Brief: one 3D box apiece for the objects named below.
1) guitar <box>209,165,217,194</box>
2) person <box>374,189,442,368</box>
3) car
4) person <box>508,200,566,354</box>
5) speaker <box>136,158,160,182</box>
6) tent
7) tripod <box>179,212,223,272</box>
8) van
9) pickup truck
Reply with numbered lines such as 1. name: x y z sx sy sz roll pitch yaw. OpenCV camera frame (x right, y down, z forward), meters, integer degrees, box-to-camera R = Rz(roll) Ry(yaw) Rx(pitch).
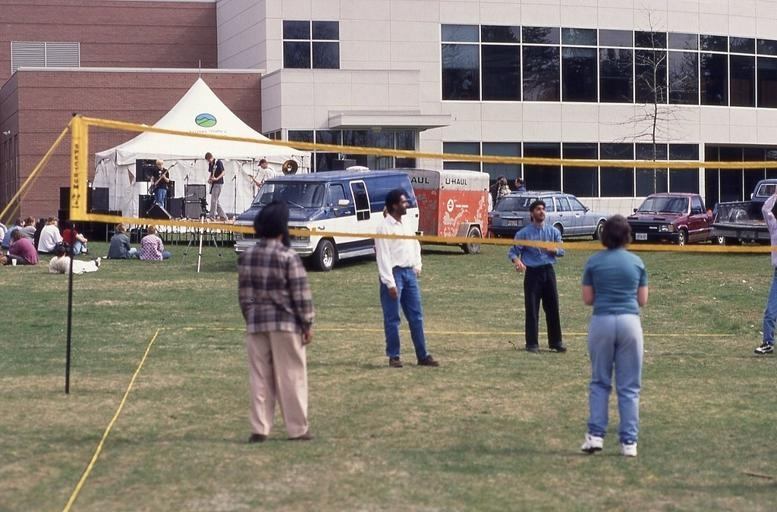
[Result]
1. guitar: -5.845 -2.538 51.688 0.251 0.827 0.498 5 -3 -38
2. person: 0.315 0.591 38.022 1.228 4.381 1.111 -1 4 10
3. car: 5.819 -1.306 55.137 2.143 1.795 5.285 0 2 39
4. person: 3.794 0.532 39.142 1.466 3.830 1.149 1 -4 -16
5. speaker: -8.056 -2.799 51.585 0.781 0.744 0.401 0 -4 -20
6. tent: -5.505 -3.691 57.323 6.717 4.539 9.575 -4 9 -38
7. tripod: -5.944 -0.369 48.886 1.720 2.406 1.654 1 -4 -4
8. van: -1.984 -1.183 48.599 3.439 2.744 6.014 3 7 32
9. pickup truck: 9.621 -1.245 52.885 5.630 2.185 2.320 -2 2 -42
